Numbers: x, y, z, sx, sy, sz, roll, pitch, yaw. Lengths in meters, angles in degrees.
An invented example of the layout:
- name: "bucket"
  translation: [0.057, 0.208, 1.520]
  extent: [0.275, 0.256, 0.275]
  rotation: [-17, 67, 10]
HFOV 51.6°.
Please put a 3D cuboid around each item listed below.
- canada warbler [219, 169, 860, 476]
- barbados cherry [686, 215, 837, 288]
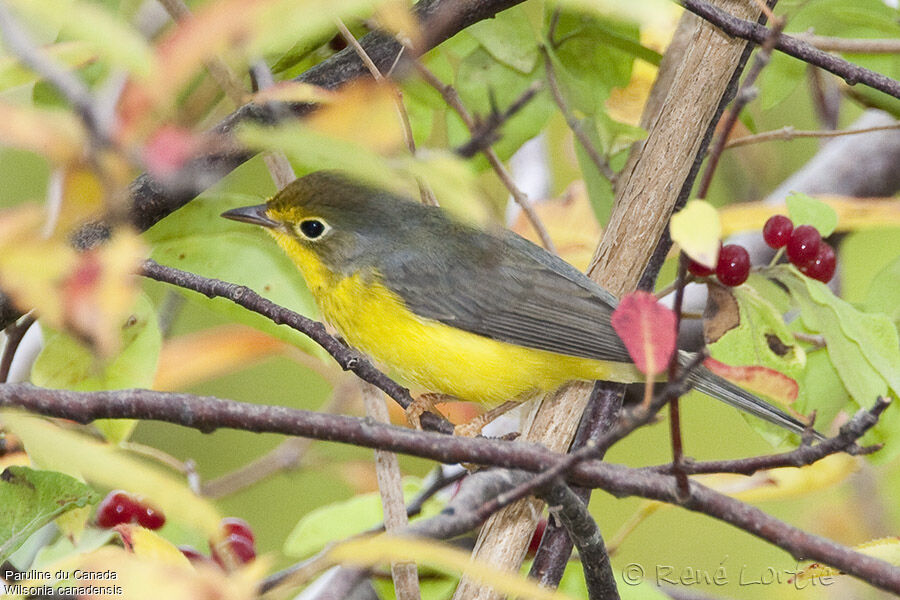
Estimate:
- name: "canada warbler"
  translation: [-0.042, 0.007, 3.273]
  extent: [1.401, 0.762, 0.629]
  rotation: [17, -53, -3]
- name: "barbados cherry"
  translation: [0.985, -0.150, 2.895]
  extent: [0.328, 0.587, 0.277]
  rotation: [2, -87, 26]
